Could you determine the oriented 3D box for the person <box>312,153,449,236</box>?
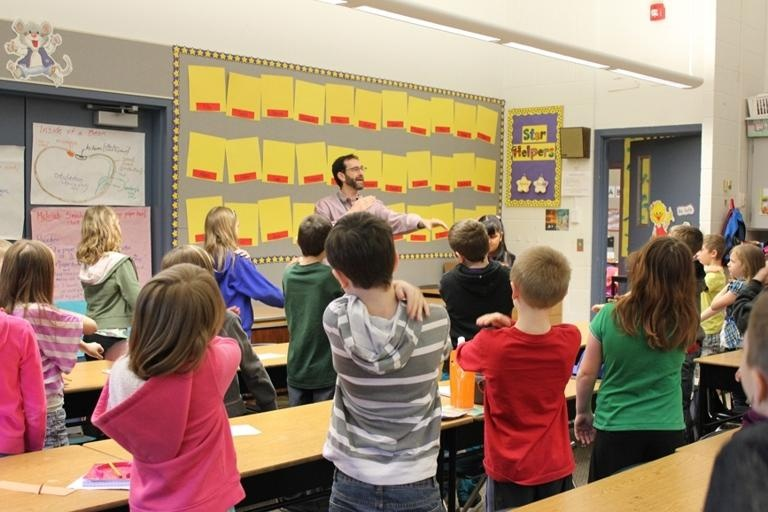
[{"bbox_3d":[-0.044,-0.385,4.737,1.055,0.740,0.616,8,11,29],"label":"person"}]
